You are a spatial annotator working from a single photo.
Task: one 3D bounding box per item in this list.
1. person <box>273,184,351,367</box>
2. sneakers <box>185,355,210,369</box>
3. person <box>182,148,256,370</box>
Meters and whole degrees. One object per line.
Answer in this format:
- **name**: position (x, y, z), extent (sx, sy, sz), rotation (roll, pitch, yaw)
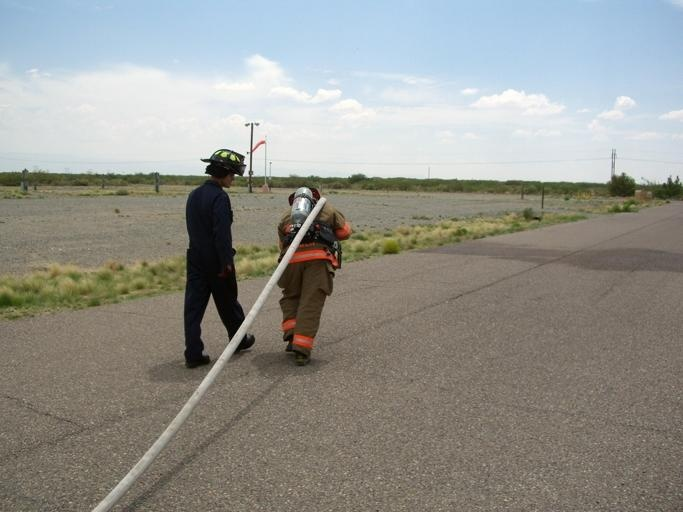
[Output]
- **person**: position (-0.366, 0.232, 6.356), extent (0.921, 2.143, 1.425), rotation (0, 8, 1)
- **sneakers**: position (-1.712, 1.260, 6.129), extent (0.270, 0.128, 0.124), rotation (-15, 20, -28)
- **person**: position (-1.566, -0.005, 6.300), extent (0.767, 2.552, 0.624), rotation (-2, 8, -19)
